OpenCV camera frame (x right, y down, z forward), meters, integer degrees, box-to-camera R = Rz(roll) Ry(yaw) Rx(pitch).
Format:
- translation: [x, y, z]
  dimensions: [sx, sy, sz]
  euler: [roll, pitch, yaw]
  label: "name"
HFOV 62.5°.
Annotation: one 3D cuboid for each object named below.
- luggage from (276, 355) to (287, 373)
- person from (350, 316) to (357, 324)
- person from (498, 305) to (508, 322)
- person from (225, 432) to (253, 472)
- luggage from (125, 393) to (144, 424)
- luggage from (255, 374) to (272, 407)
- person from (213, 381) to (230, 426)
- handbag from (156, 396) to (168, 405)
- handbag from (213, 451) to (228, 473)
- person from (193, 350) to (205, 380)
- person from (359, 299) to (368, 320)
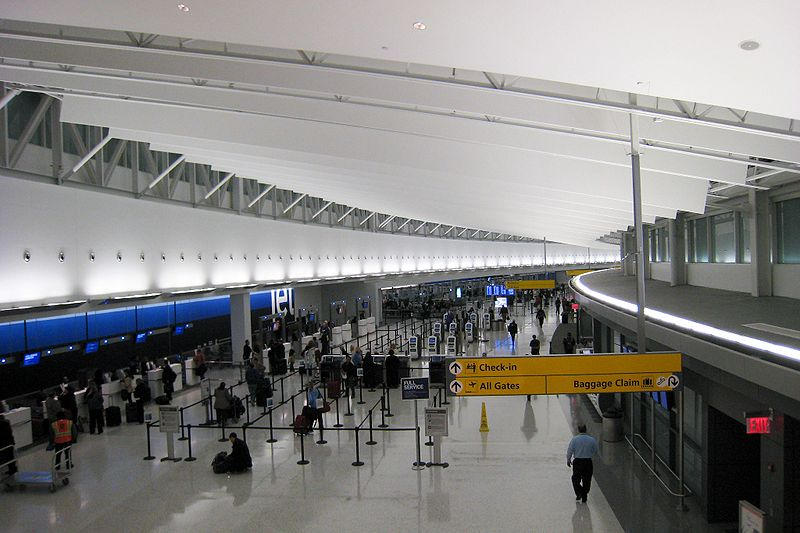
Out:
- translation: [-5.247, 4.433, 29.381]
  dimensions: [0.438, 0.727, 0.323]
  euler: [2, -7, -30]
  label: "luggage"
- translation: [-2.855, 3.478, 42.308]
  dimensions: [0.463, 0.493, 1.283]
  euler: [-1, -7, -6]
  label: "person"
- translation: [6.852, 3.142, 42.906]
  dimensions: [0.425, 1.045, 1.118]
  euler: [-2, -7, 7]
  label: "person"
- translation: [-4.348, 4.963, 17.722]
  dimensions: [0.598, 1.084, 1.001]
  euler: [-4, -7, 23]
  label: "person"
- translation: [-9.012, 4.865, 22.405]
  dimensions: [0.970, 0.889, 0.451]
  euler: [-8, -9, 43]
  label: "luggage"
- translation: [-4.841, 4.469, 23.436]
  dimensions: [0.495, 1.045, 0.407]
  euler: [0, -6, -13]
  label: "luggage"
- translation: [-5.635, 4.362, 20.929]
  dimensions: [0.470, 1.349, 1.065]
  euler: [0, -7, -15]
  label: "person"
- translation: [-8.389, 4.763, 23.384]
  dimensions: [0.363, 0.257, 0.379]
  euler: [1, 3, 4]
  label: "handbag"
- translation: [-4.781, 5.324, 17.820]
  dimensions: [0.452, 0.494, 0.377]
  euler: [1, -17, 1]
  label: "handbag"
- translation: [-8.318, 4.086, 27.381]
  dimensions: [0.476, 1.173, 0.971]
  euler: [1, -7, -18]
  label: "person"
- translation: [-2.517, 2.986, 47.156]
  dimensions: [0.734, 1.289, 0.328]
  euler: [0, -6, -9]
  label: "person"
